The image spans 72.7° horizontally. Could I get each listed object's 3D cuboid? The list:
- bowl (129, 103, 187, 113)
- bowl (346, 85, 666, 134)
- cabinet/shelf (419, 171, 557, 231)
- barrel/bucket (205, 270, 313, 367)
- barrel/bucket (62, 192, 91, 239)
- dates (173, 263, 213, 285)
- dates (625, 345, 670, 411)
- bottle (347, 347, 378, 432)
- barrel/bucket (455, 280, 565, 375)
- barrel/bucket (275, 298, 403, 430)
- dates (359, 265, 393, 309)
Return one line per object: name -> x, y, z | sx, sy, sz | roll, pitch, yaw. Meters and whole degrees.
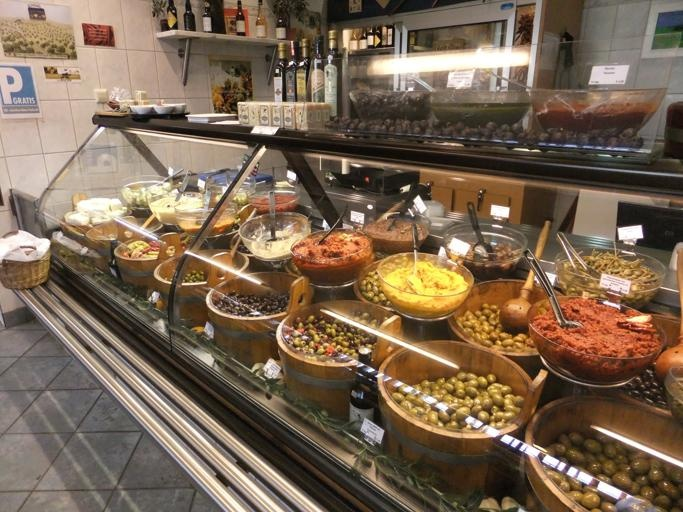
bowl -> -1.041, -0.841, 2.642 | 0.281, 0.054, 0.289 | -1, 24, 0
bowl -> 0.459, -0.483, 1.495 | 0.941, 0.139, 0.073 | 15, 30, 31
cabinet/shelf -> 0.501, -0.207, 1.620 | 0.442, 0.184, 0.259 | -4, 14, -16
barrel/bucket -> -0.396, 0.206, 1.899 | 0.400, 0.403, 0.361 | 17, 56, 15
barrel/bucket -> -1.566, -0.231, 2.773 | 0.164, 0.204, 0.417 | -14, 28, -26
dates -> -0.597, 0.070, 1.884 | 0.101, 0.043, 0.095 | 8, 18, 8
dates -> 0.797, 0.351, 1.225 | 0.074, 0.077, 0.074 | 8, 18, 21
bottle -> 0.069, 0.417, 1.433 | 0.094, 0.224, 0.071 | 22, 24, 40
barrel/bucket -> 0.529, 0.179, 1.550 | 0.376, 0.233, 0.388 | 3, 13, -1
barrel/bucket -> -0.075, 0.291, 1.665 | 0.487, 0.350, 0.378 | -6, 21, -27
dates -> 0.123, 0.114, 1.666 | 0.122, 0.049, 0.118 | -15, 28, -28
